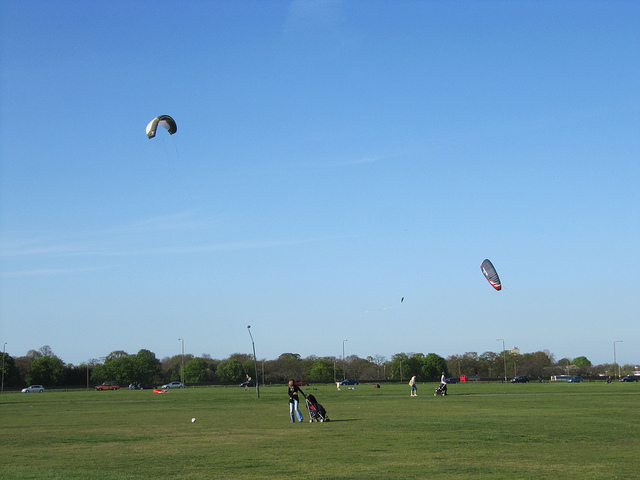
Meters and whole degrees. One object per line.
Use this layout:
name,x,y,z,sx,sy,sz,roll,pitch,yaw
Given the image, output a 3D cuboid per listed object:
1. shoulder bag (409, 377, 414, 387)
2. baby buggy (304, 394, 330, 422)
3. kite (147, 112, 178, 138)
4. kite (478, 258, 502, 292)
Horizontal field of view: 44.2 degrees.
shoulder bag,7.596,11.528,64.687,0.233,0.598,0.478,-3,-13,-2
baby buggy,-0.149,8.551,40.495,1.139,1.451,0.921,-4,-13,0
kite,-9.925,-7.078,49.056,1.513,1.286,1.848,-4,-13,2
kite,12.301,2.443,56.502,0.995,2.225,3.262,-6,-13,9
